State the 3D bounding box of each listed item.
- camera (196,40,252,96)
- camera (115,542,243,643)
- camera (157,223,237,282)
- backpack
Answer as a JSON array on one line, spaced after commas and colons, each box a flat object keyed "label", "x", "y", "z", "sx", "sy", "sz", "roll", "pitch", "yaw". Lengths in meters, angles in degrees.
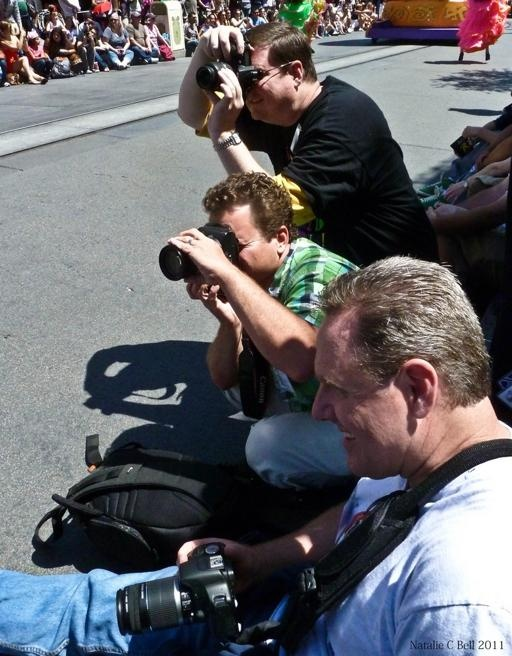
[{"label": "camera", "x": -0.146, "y": -1.105, "z": 2.523, "sx": 0.278, "sy": 0.142, "sz": 0.272, "roll": -16, "pitch": 28, "yaw": -16}, {"label": "camera", "x": -0.168, "y": 0.595, "z": 1.300, "sx": 0.252, "sy": 0.126, "sz": 0.205, "roll": -10, "pitch": 36, "yaw": 1}, {"label": "camera", "x": -0.195, "y": -0.239, "z": 1.895, "sx": 0.220, "sy": 0.178, "sz": 0.127, "roll": -12, "pitch": -1, "yaw": -38}, {"label": "backpack", "x": -0.343, "y": 0.602, "z": 1.927, "sx": 0.611, "sy": 0.217, "sz": 0.402, "roll": 8, "pitch": 31, "yaw": 21}]
